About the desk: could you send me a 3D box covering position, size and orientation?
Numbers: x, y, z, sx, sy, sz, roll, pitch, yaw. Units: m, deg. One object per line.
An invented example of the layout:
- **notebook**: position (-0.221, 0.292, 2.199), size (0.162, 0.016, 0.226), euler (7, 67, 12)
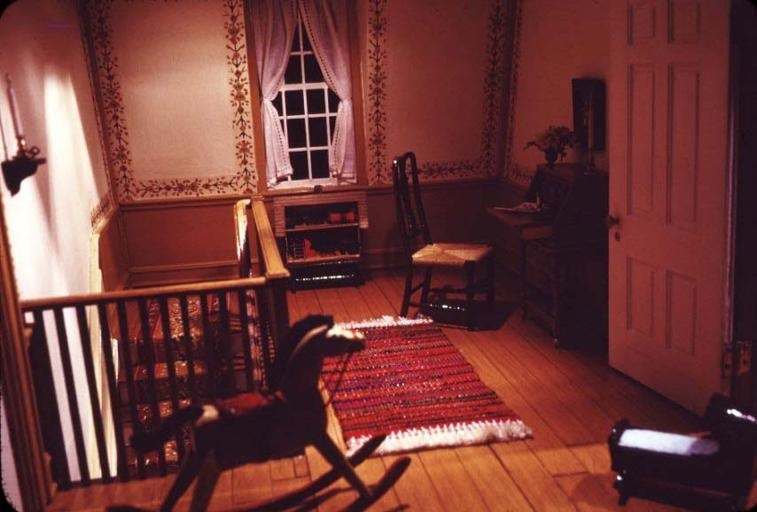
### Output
- **desk**: position (1.656, 0.152, 5.315), size (0.741, 1.349, 1.347), euler (-11, 14, -16)

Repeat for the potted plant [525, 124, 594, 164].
- **potted plant**: position (1.785, -1.050, 5.621), size (0.473, 0.370, 0.632), euler (2, 17, 33)

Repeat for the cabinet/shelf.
- **cabinet/shelf**: position (-0.678, -0.170, 7.134), size (1.066, 1.144, 0.515), euler (-5, 1, -9)

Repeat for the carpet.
- **carpet**: position (0.288, 1.044, 4.910), size (1.374, 0.260, 1.854), euler (-10, 15, -6)
